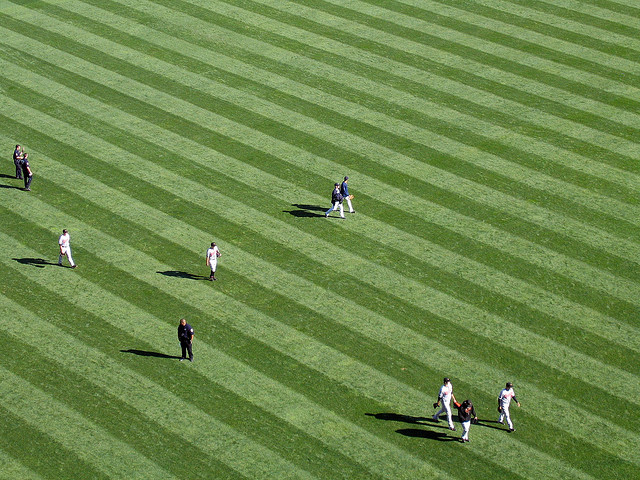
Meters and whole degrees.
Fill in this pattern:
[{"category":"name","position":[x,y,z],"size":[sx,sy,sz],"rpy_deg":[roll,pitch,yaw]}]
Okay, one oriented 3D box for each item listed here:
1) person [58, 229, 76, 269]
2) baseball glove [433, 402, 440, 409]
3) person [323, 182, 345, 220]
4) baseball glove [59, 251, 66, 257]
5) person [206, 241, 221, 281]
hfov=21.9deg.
[{"category":"person","position":[-12.471,0.318,80.989],"size":[0.846,2.088,1.356],"rpy_deg":[5,38,-9]},{"category":"baseball glove","position":[5.239,7.654,75.791],"size":[0.378,0.089,0.370],"rpy_deg":[-4,13,1]},{"category":"person","position":[0.815,-1.938,84.753],"size":[1.018,1.859,0.990],"rpy_deg":[12,38,-1]},{"category":"baseball glove","position":[-12.780,0.789,81.245],"size":[0.152,0.466,0.213],"rpy_deg":[-21,93,-40]},{"category":"person","position":[-5.352,1.089,80.743],"size":[0.614,2.093,0.602],"rpy_deg":[8,39,-6]}]
